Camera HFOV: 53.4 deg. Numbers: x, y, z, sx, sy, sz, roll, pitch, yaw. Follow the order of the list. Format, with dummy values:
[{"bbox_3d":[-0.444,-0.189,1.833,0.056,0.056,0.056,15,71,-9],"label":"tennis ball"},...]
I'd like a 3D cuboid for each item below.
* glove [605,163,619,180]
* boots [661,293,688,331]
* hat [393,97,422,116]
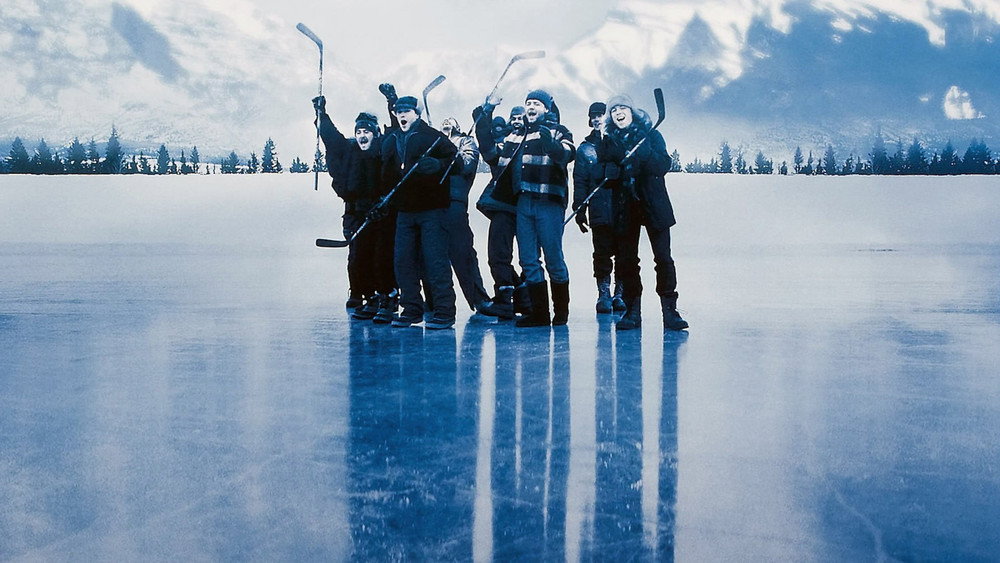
[{"bbox_3d":[1.285,-1.288,11.421,0.193,0.165,0.046,3,4,37],"label":"glove"},{"bbox_3d":[1.997,0.342,11.281,0.219,0.396,0.434,-7,8,-31],"label":"boots"},{"bbox_3d":[-1.088,-2.074,11.588,0.321,0.190,0.277,-1,0,-4],"label":"hat"}]
